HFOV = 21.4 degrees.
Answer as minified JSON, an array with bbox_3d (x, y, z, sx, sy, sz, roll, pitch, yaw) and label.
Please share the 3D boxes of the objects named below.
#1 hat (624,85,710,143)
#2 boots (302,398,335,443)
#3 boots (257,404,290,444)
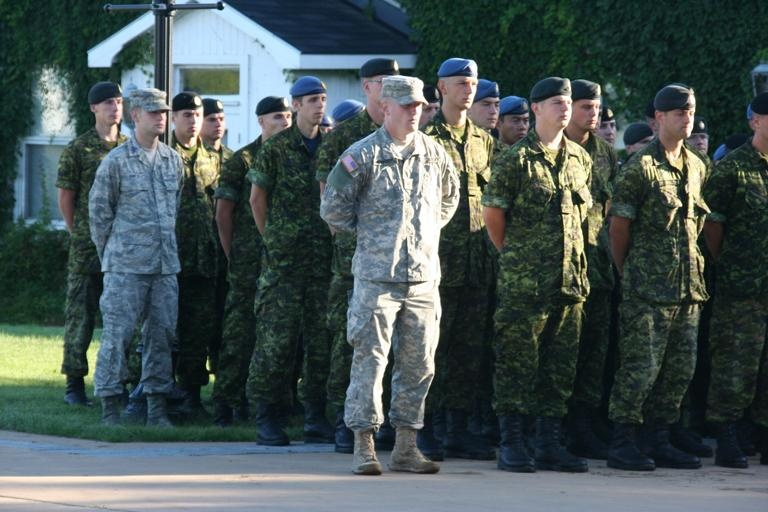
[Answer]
[{"bbox_3d":[2.965,-1.496,22.446,0.865,0.720,0.674,14,21,42],"label":"hat"},{"bbox_3d":[-0.614,1.734,21.359,0.520,0.443,0.262,1,2,38],"label":"boots"},{"bbox_3d":[-1.183,1.750,21.151,0.357,0.427,0.343,-9,-7,37],"label":"boots"}]
